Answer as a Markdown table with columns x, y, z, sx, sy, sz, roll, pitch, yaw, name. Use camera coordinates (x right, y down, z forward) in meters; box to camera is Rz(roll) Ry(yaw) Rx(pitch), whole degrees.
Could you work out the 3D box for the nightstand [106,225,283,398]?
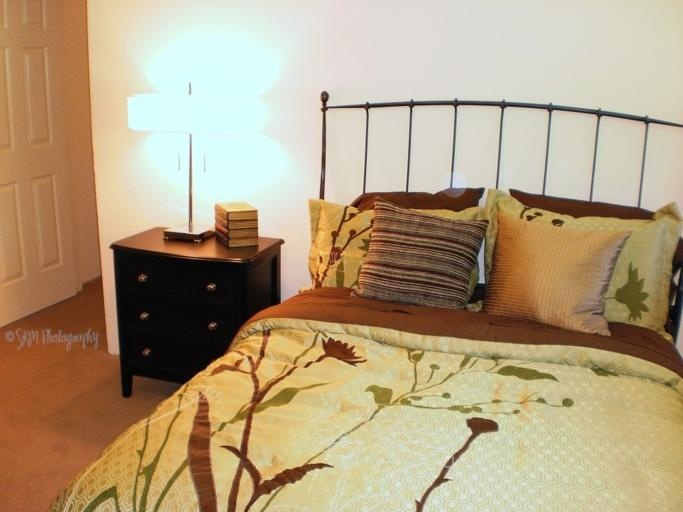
| x | y | z | sx | sy | sz | roll | pitch | yaw | name |
| --- | --- | --- | --- | --- | --- | --- | --- | --- | --- |
| -0.728 | 0.165 | 2.974 | 1.021 | 1.008 | 0.696 | 3 | 11 | 13 | nightstand |
